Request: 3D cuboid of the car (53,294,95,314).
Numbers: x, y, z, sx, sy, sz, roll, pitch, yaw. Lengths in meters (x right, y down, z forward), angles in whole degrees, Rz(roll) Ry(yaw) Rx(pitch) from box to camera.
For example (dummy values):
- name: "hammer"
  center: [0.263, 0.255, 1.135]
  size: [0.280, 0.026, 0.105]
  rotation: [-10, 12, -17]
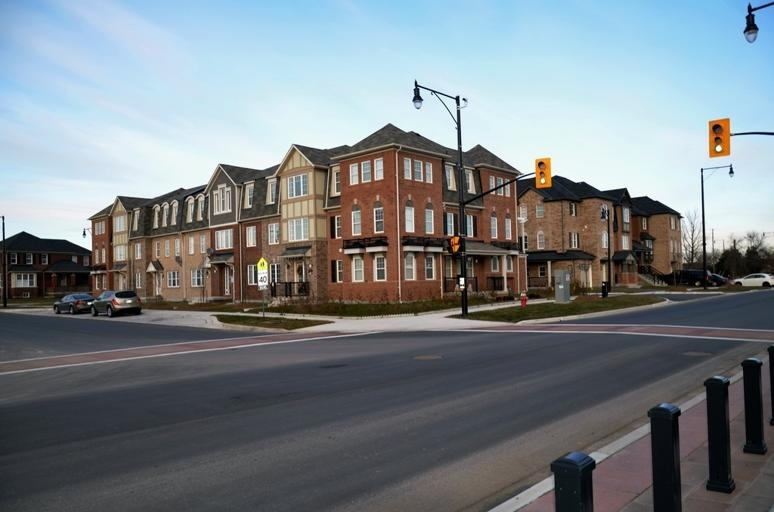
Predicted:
- name: "car"
  center: [-22.938, 3.394, 47.877]
  size: [3.064, 0.953, 1.498]
  rotation: [1, 2, 42]

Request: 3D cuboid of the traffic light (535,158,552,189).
- name: "traffic light"
  center: [6.782, -3.654, 28.339]
  size: [0.595, 1.121, 0.516]
  rotation: [-2, -3, 2]

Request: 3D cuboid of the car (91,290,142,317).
- name: "car"
  center: [-18.190, 3.165, 44.320]
  size: [2.219, 1.745, 2.906]
  rotation: [1, -4, -38]

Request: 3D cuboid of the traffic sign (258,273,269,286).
- name: "traffic sign"
  center: [-6.048, 1.124, 32.032]
  size: [0.354, 0.675, 0.489]
  rotation: [0, -4, -23]
